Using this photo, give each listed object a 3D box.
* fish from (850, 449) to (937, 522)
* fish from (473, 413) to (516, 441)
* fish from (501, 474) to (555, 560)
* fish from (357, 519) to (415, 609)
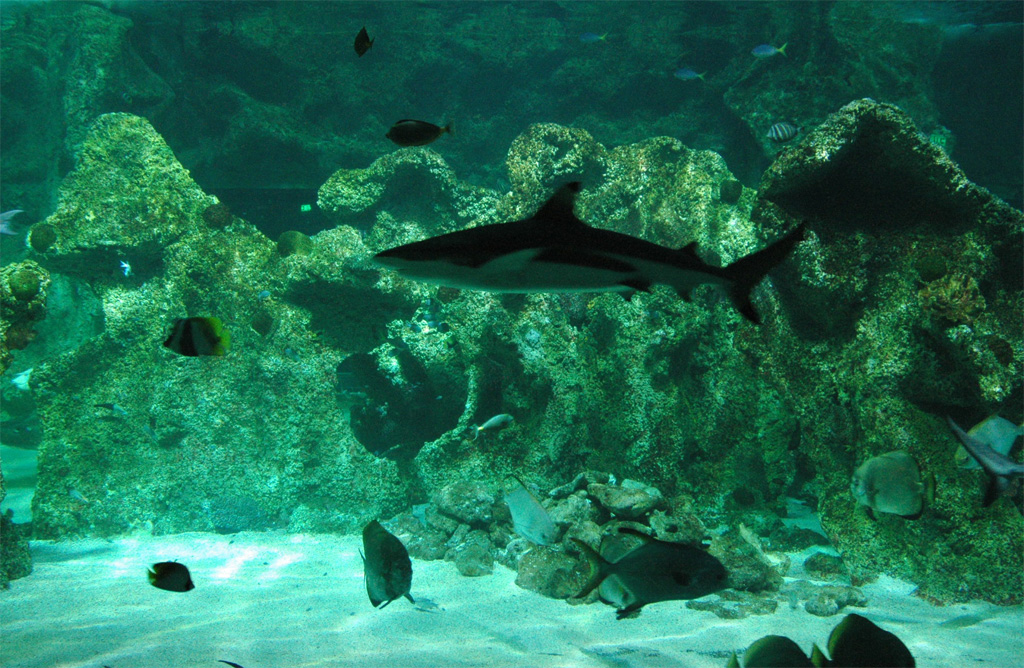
[{"bbox_3d":[6.276,2.488,18.347,1.239,1.068,0.203,-3,-3,11],"label":"fish"},{"bbox_3d":[-0.313,1.802,21.336,0.684,0.292,0.154,-23,42,-2],"label":"fish"},{"bbox_3d":[0.313,3.083,18.831,1.585,0.828,0.578,37,17,34],"label":"fish"},{"bbox_3d":[-1.971,3.584,17.488,0.729,1.316,0.266,-2,-3,-13],"label":"fish"}]
